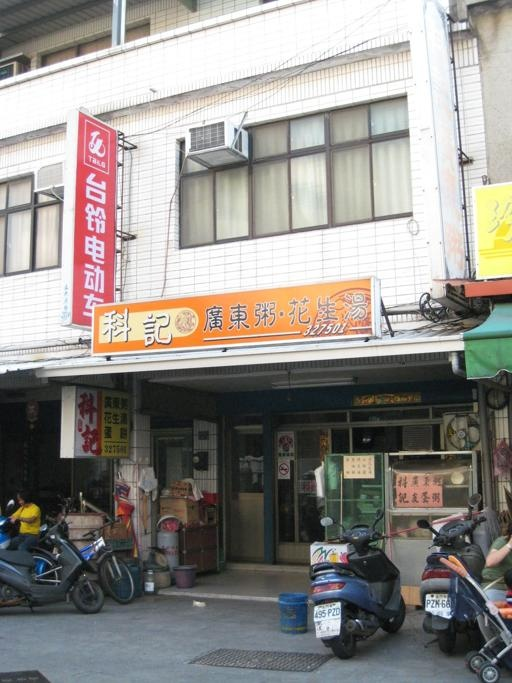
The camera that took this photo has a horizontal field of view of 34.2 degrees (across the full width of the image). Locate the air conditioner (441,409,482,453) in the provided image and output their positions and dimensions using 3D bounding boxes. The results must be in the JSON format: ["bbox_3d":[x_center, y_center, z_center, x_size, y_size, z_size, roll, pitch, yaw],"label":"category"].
[{"bbox_3d":[2.653,1.181,10.822,0.449,0.478,0.178,-5,-14,32],"label":"air conditioner"}]

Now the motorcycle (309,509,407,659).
[{"bbox_3d":[0.827,2.168,7.221,0.381,1.028,1.016,-9,-12,35],"label":"motorcycle"}]

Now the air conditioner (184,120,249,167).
[{"bbox_3d":[-0.504,-2.564,10.861,0.682,0.402,0.745,-7,-11,25],"label":"air conditioner"}]

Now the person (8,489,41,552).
[{"bbox_3d":[-2.854,2.262,10.399,0.419,0.868,0.358,10,1,10],"label":"person"}]

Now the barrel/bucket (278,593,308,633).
[{"bbox_3d":[0.351,2.587,7.957,0.356,0.328,0.333,-1,-9,0],"label":"barrel/bucket"}]

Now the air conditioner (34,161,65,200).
[{"bbox_3d":[-2.958,-2.323,12.080,0.353,0.541,0.738,5,-12,-35],"label":"air conditioner"}]

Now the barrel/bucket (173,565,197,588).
[{"bbox_3d":[-0.938,3.089,10.908,0.264,0.298,0.360,-1,-10,-7],"label":"barrel/bucket"}]
